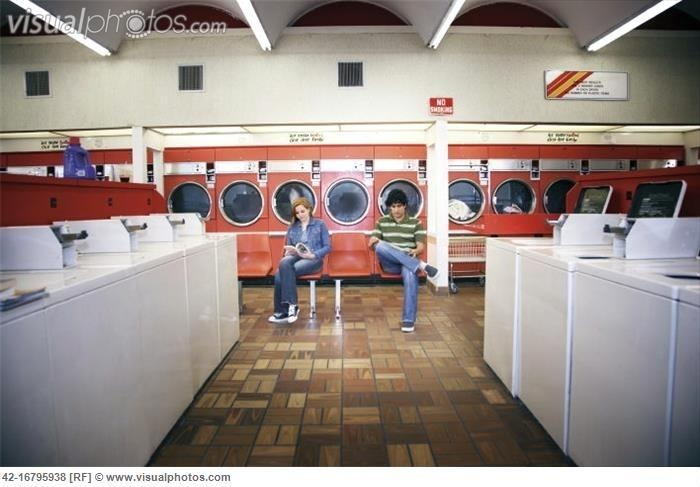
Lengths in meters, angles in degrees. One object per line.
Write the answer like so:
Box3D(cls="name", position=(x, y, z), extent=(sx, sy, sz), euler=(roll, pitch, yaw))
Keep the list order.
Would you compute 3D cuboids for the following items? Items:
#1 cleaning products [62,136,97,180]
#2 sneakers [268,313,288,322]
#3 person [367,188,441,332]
Box3D(cls="cleaning products", position=(-2.552, -0.803, 4.800), extent=(0.205, 0.392, 0.287), euler=(1, 4, 25))
Box3D(cls="sneakers", position=(-0.743, 0.780, 5.346), extent=(0.234, 0.120, 0.086), euler=(6, 2, -10))
Box3D(cls="person", position=(0.533, 0.061, 5.290), extent=(0.647, 0.838, 1.451), euler=(1, 34, 5))
